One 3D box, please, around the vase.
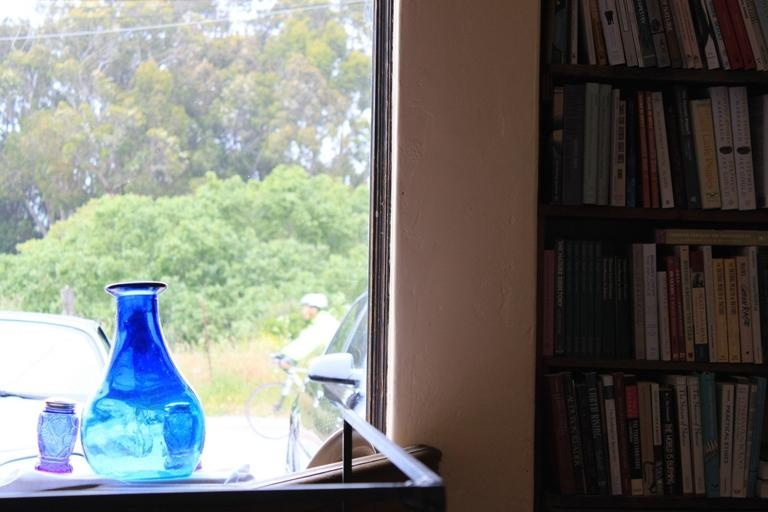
[{"bbox_3d":[-0.865,0.365,3.362,0.480,0.849,0.548,0,-2,-18],"label":"vase"}]
